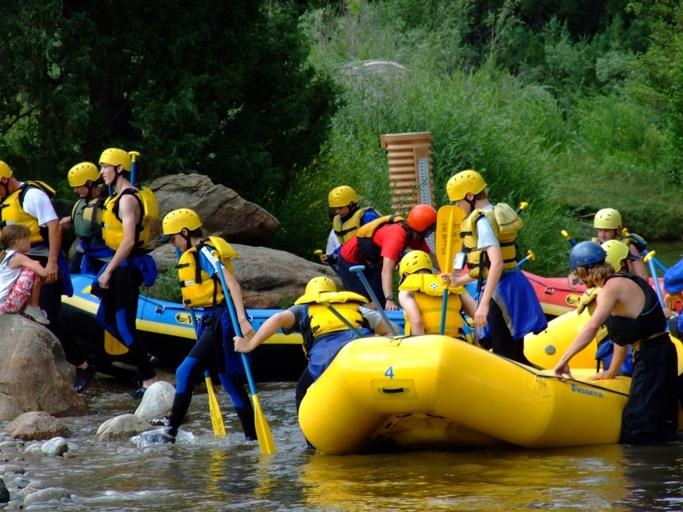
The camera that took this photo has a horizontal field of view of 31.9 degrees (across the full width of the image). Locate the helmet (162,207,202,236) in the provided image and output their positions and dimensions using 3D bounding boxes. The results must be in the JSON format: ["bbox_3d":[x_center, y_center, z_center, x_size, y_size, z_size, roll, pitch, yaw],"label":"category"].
[{"bbox_3d":[-1.722,-0.378,12.989,0.380,0.193,0.268,-8,-3,-2],"label":"helmet"}]

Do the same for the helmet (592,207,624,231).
[{"bbox_3d":[3.248,-0.415,14.337,0.255,0.259,0.351,11,37,38],"label":"helmet"}]

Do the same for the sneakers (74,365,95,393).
[{"bbox_3d":[-3.116,1.458,14.512,0.168,0.384,0.130,33,-20,-33],"label":"sneakers"}]

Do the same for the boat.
[{"bbox_3d":[0.347,1.011,14.085,7.096,1.522,3.739,9,15,43],"label":"boat"}]

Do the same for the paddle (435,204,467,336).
[{"bbox_3d":[1.145,0.170,13.432,0.322,1.408,0.121,-10,-31,38],"label":"paddle"}]

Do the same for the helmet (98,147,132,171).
[{"bbox_3d":[-2.672,-1.144,14.213,0.349,0.263,0.264,-22,4,-11],"label":"helmet"}]

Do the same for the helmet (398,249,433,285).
[{"bbox_3d":[0.821,0.103,13.048,0.287,0.340,0.365,14,-36,-22],"label":"helmet"}]

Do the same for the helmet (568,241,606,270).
[{"bbox_3d":[2.535,-0.011,12.231,0.329,0.249,0.267,-3,12,39],"label":"helmet"}]

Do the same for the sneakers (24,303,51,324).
[{"bbox_3d":[-3.570,0.663,14.072,0.387,0.168,0.128,29,14,-17],"label":"sneakers"}]

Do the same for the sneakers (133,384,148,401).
[{"bbox_3d":[-2.414,1.618,14.484,0.127,0.152,0.369,-2,-9,-31],"label":"sneakers"}]

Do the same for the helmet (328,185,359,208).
[{"bbox_3d":[0.057,-0.767,15.134,0.253,0.207,0.339,-12,0,37],"label":"helmet"}]

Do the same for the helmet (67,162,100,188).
[{"bbox_3d":[-3.249,-1.036,15.027,0.376,0.224,0.283,-28,18,-9],"label":"helmet"}]

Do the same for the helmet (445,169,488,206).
[{"bbox_3d":[1.392,-0.744,13.033,0.389,0.301,0.314,-13,-2,16],"label":"helmet"}]
